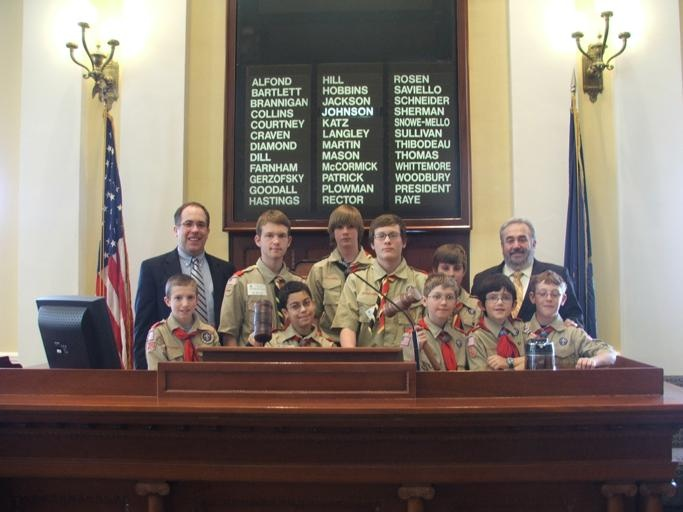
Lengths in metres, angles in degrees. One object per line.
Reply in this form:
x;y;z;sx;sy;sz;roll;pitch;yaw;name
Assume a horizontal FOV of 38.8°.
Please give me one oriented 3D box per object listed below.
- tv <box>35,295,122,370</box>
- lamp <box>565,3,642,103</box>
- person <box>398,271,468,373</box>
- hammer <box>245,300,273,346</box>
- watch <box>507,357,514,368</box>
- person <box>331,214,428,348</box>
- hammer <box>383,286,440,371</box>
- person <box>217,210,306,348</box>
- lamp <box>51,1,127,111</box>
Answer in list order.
-1.543;0.453;5.495;0.421;0.524;0.179;3;24;7;tv
1.874;-1.446;7.018;0.412;0.669;0.297;0;5;19;lamp
0.534;0.420;5.694;0.369;0.925;0.279;0;-24;1;person
-0.463;0.393;5.507;0.126;0.269;0.236;-2;5;-8;hammer
0.966;0.622;5.608;0.029;0.052;0.021;1;-23;2;watch
0.281;0.199;6.001;0.566;0.986;0.553;-1;-22;5;person
0.407;0.406;5.597;0.280;0.497;0.558;-1;5;10;hammer
-0.477;0.199;6.201;0.499;0.992;0.458;4;3;-23;person
-1.815;-1.459;7.095;0.403;0.830;0.352;-3;5;-18;lamp
